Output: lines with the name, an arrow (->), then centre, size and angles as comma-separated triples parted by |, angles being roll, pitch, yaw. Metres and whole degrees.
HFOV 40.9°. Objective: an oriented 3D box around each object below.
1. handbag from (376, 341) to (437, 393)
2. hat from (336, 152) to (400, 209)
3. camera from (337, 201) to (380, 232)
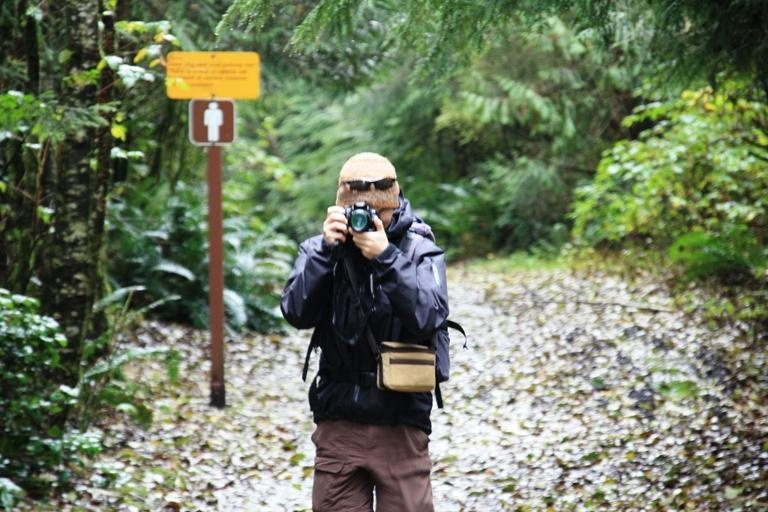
handbag -> 0.127, 0.904, 8.171 | 0.597, 0.484, 0.346 | 3, -14, -8
hat -> -0.122, -0.607, 8.216 | 0.454, 0.376, 0.466 | -2, 7, -7
camera -> -0.197, -0.307, 8.061 | 0.237, 0.224, 0.231 | 0, 6, 4
